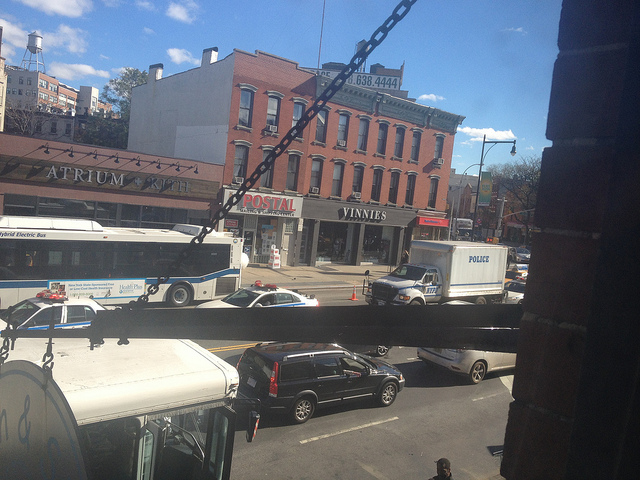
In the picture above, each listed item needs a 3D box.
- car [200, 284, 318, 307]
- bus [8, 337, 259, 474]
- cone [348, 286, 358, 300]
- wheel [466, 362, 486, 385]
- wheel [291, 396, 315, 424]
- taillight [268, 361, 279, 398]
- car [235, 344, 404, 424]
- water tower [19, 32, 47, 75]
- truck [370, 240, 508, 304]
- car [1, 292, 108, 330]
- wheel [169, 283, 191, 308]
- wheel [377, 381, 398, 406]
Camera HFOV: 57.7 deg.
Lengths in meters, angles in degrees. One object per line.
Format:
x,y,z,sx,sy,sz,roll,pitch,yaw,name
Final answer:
-2.311,1.911,20.182,3.242,1.177,1.493,5,-3,-32,car
-2.411,2.163,7.926,3.042,1.718,2.387,6,3,-33,bus
1.623,2.589,27.673,0.405,0.593,0.432,2,1,14,cone
4.258,3.611,15.953,0.575,0.633,0.203,-2,11,-37,wheel
-0.377,3.556,12.238,0.551,0.601,0.193,1,-5,-43,wheel
-0.944,2.866,11.995,0.175,0.474,0.231,4,2,-6,taillight
0.180,3.092,13.214,3.973,1.151,1.288,4,2,-30,car
-50.389,-32.736,102.546,4.251,8.374,3.879,13,16,7,water tower
5.628,1.685,27.413,6.401,3.525,3.112,0,8,-32,truck
-5.983,1.537,12.793,2.411,0.897,1.122,8,2,-40,car
-5.359,2.057,22.071,0.285,0.903,0.832,5,4,39,wheel
1.572,3.594,13.688,0.441,0.479,0.158,-23,15,-35,wheel
